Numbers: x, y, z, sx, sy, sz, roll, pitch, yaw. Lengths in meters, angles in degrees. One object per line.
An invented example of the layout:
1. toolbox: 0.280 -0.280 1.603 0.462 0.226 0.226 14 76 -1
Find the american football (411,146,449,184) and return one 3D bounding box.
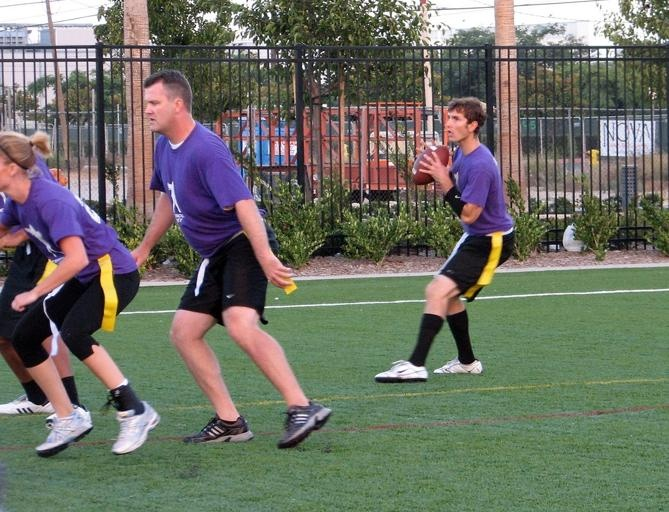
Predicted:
1. american football: 0.750 -0.726 7.494 0.215 0.226 0.341 25 5 -9

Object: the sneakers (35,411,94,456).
1. sneakers: -1.590 1.043 5.593 0.149 0.240 0.312 2 6 40

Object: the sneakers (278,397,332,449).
1. sneakers: -0.203 0.951 5.424 0.378 0.183 0.136 -35 -5 -31

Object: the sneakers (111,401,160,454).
1. sneakers: -1.186 1.007 5.584 0.163 0.193 0.427 -8 22 24

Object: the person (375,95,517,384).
1. person: 0.908 -0.133 7.251 1.062 2.146 0.467 -4 5 -21

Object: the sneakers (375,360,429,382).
1. sneakers: 0.514 0.859 7.052 0.415 0.181 0.151 2 -7 -3

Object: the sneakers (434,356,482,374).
1. sneakers: 0.966 0.850 7.431 0.369 0.131 0.130 2 -1 5
